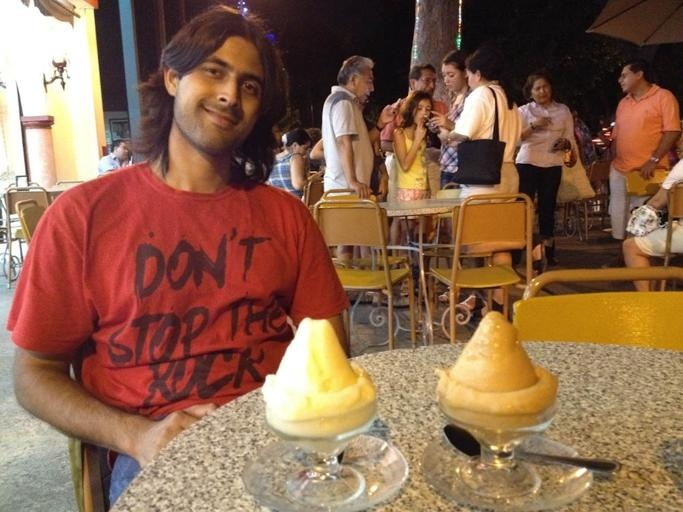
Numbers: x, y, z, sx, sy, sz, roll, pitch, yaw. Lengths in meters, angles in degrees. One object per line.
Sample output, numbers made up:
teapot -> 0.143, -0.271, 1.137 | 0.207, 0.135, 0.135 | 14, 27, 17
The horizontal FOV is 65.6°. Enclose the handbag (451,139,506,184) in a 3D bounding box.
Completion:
handbag -> 1.019, -0.692, 4.185 | 0.519, 0.515, 0.293 | 3, 1, 16

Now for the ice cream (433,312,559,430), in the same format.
ice cream -> 0.258, 0.186, 0.896 | 0.199, 0.183, 0.210 | -6, 4, 7

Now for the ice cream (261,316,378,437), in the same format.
ice cream -> -0.042, 0.193, 0.893 | 0.197, 0.183, 0.205 | 1, 8, 23

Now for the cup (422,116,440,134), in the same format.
cup -> 0.796, -1.187, 4.665 | 0.137, 0.148, 0.313 | -3, 12, 8

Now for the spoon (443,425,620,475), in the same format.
spoon -> 0.319, 0.343, 0.913 | 0.296, 0.042, 0.062 | 7, 33, 9
